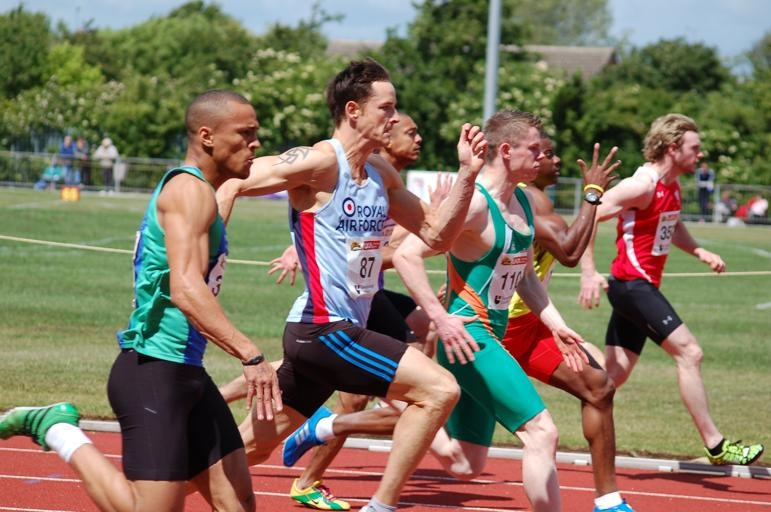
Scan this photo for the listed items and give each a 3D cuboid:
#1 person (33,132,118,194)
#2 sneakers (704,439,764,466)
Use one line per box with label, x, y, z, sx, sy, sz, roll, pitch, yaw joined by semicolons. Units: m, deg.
person;-3.769;-1.209;13.411;0.681;0.710;0.169;-6;53;-18
sneakers;3.261;1.897;10.398;0.602;0.277;0.229;-7;28;16
